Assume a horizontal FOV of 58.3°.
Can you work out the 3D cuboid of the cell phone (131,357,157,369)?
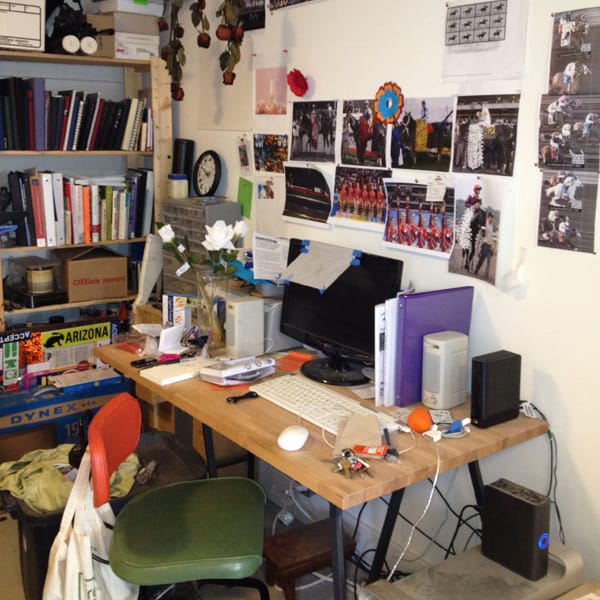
[{"bbox_3d":[-0.533,0.213,1.845,0.037,0.016,0.064,16,17,41],"label":"cell phone"}]

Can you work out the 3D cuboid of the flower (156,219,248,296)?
[{"bbox_3d":[-0.390,-0.178,2.200,0.253,0.266,0.214,-8,52,-19],"label":"flower"}]

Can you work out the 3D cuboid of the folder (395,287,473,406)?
[{"bbox_3d":[0.374,0.135,1.524,0.296,0.358,0.049,-6,10,-36],"label":"folder"}]

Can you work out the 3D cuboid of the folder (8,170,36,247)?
[{"bbox_3d":[-1.344,-0.437,2.585,0.096,0.346,0.113,-13,18,-42],"label":"folder"}]

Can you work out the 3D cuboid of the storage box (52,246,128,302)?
[{"bbox_3d":[-1.123,-0.147,2.908,0.355,0.265,0.241,-10,17,-33],"label":"storage box"}]

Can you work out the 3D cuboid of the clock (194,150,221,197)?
[{"bbox_3d":[-0.458,-0.633,2.692,0.035,0.237,0.235,1,4,-33],"label":"clock"}]

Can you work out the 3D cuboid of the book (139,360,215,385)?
[{"bbox_3d":[-0.406,0.231,1.765,0.129,0.014,0.092,-15,23,-43],"label":"book"}]

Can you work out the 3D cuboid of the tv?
[{"bbox_3d":[0.140,0.044,1.769,0.178,0.396,0.427,-3,11,-37],"label":"tv"}]

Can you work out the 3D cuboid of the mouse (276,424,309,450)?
[{"bbox_3d":[-0.019,0.330,1.324,0.076,0.054,0.133,1,14,5],"label":"mouse"}]

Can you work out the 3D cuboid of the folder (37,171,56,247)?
[{"bbox_3d":[-1.245,-0.454,2.631,0.047,0.338,0.281,-5,18,-20],"label":"folder"}]

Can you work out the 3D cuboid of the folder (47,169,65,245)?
[{"bbox_3d":[-1.209,-0.451,2.658,0.051,0.333,0.279,-3,16,-21],"label":"folder"}]

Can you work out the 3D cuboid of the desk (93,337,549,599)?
[{"bbox_3d":[0.052,0.512,1.702,0.719,0.560,1.119,-12,19,-40],"label":"desk"}]
